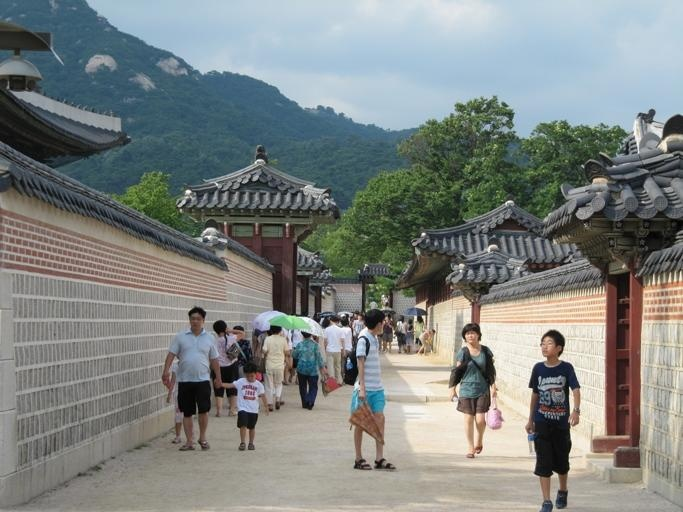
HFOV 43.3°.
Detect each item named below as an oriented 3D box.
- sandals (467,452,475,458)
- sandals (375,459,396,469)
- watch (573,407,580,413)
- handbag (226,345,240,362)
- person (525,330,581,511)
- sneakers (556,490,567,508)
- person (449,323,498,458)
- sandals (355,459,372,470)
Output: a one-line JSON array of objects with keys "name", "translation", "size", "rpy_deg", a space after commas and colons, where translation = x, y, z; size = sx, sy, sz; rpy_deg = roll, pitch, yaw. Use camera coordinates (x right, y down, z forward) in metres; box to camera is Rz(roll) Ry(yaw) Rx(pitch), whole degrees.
[{"name": "sandals", "translation": [1.892, 2.886, 12.497], "size": [0.127, 0.083, 0.243], "rpy_deg": [-2, 4, 8]}, {"name": "sandals", "translation": [0.599, 2.790, 11.529], "size": [0.252, 0.112, 0.127], "rpy_deg": [-3, -5, 19]}, {"name": "watch", "translation": [2.718, 1.780, 9.893], "size": [0.070, 0.051, 0.070], "rpy_deg": [4, -5, -33]}, {"name": "handbag", "translation": [-2.023, 1.811, 16.037], "size": [0.281, 0.167, 0.301], "rpy_deg": [22, -26, -24]}, {"name": "person", "translation": [2.430, 1.892, 9.836], "size": [0.580, 2.046, 0.888], "rpy_deg": [-1, 4, 17]}, {"name": "sneakers", "translation": [2.528, 2.779, 9.813], "size": [0.084, 0.104, 0.254], "rpy_deg": [-3, 10, 12]}, {"name": "person", "translation": [1.934, 1.972, 12.570], "size": [0.665, 1.974, 0.480], "rpy_deg": [-2, 4, 7]}, {"name": "sandals", "translation": [0.285, 2.795, 11.526], "size": [0.108, 0.099, 0.230], "rpy_deg": [4, -13, -17]}]
